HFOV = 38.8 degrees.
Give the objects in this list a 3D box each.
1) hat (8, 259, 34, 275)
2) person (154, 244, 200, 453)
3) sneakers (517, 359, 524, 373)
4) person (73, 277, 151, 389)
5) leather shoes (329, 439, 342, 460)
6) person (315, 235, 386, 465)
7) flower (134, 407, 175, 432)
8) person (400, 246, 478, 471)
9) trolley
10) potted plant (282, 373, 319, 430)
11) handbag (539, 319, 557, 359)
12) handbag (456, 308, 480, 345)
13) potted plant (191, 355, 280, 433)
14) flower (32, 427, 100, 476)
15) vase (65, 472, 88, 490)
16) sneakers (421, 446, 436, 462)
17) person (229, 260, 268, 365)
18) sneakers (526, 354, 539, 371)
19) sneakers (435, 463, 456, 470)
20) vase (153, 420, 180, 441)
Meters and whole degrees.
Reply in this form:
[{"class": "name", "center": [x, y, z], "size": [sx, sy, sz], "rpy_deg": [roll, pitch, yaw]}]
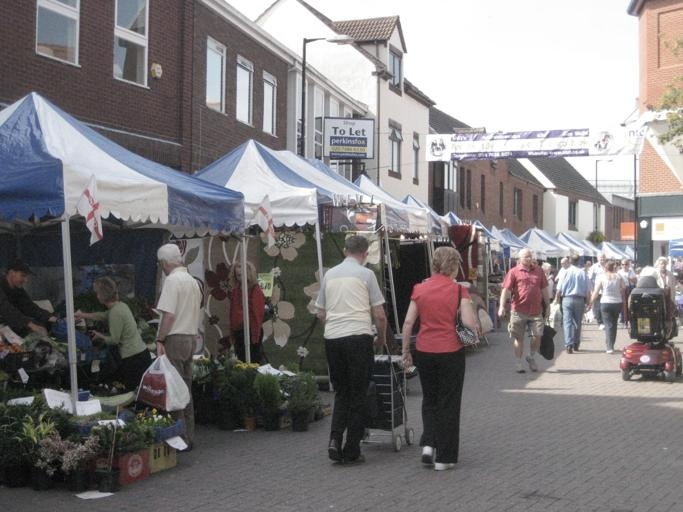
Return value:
[{"class": "hat", "center": [-4.524, 0.170, 13.685], "size": [0.318, 0.232, 0.259], "rpy_deg": [-4, 9, -36]}, {"class": "person", "center": [-2.120, 0.807, 12.556], "size": [0.635, 1.871, 0.423], "rpy_deg": [-3, 8, -29]}, {"class": "sneakers", "center": [3.380, 2.105, 18.461], "size": [0.161, 0.217, 0.364], "rpy_deg": [2, 8, 10]}, {"class": "person", "center": [-2.981, 1.023, 12.934], "size": [0.537, 1.446, 1.109], "rpy_deg": [-5, 10, -41]}, {"class": "leather shoes", "center": [-0.084, 2.443, 12.175], "size": [0.218, 0.343, 0.178], "rpy_deg": [-2, -10, 5]}, {"class": "person", "center": [0.108, 1.188, 12.346], "size": [0.878, 2.847, 0.692], "rpy_deg": [1, 7, 2]}, {"class": "flower", "center": [-2.317, 2.049, 12.070], "size": [0.292, 0.180, 0.307], "rpy_deg": [2, 1, 2]}, {"class": "person", "center": [1.234, 1.283, 12.125], "size": [0.912, 2.687, 0.646], "rpy_deg": [8, 10, 44]}, {"class": "trolley", "center": [0.525, 2.006, 13.161], "size": [0.824, 1.196, 0.837], "rpy_deg": [1, -5, 5]}, {"class": "potted plant", "center": [-0.582, 2.106, 13.861], "size": [0.435, 0.740, 0.403], "rpy_deg": [1, 7, -4]}, {"class": "handbag", "center": [3.662, 1.553, 17.604], "size": [0.386, 0.642, 0.135], "rpy_deg": [8, -9, -44]}, {"class": "handbag", "center": [1.544, 0.934, 12.117], "size": [0.271, 0.498, 0.766], "rpy_deg": [2, 8, 7]}, {"class": "potted plant", "center": [-1.505, 2.013, 14.082], "size": [1.086, 0.835, 0.979], "rpy_deg": [4, -7, 4]}, {"class": "flower", "center": [-3.208, 2.340, 11.352], "size": [0.744, 0.500, 0.194], "rpy_deg": [-1, 7, -14]}, {"class": "vase", "center": [-3.089, 2.646, 11.397], "size": [0.195, 0.169, 0.220], "rpy_deg": [2, 1, 4]}, {"class": "sneakers", "center": [1.073, 2.506, 12.096], "size": [0.162, 0.262, 0.163], "rpy_deg": [1, 7, 2]}, {"class": "person", "center": [-1.503, 0.918, 15.347], "size": [0.518, 1.661, 0.963], "rpy_deg": [0, 7, -7]}, {"class": "sneakers", "center": [3.635, 2.073, 18.677], "size": [0.223, 0.312, 0.467], "rpy_deg": [2, 8, 10]}, {"class": "sneakers", "center": [1.268, 2.607, 12.002], "size": [0.249, 0.097, 0.113], "rpy_deg": [-5, -35, -8]}, {"class": "vase", "center": [-2.176, 2.197, 12.104], "size": [0.076, 0.200, 0.448], "rpy_deg": [5, 9, 32]}]
